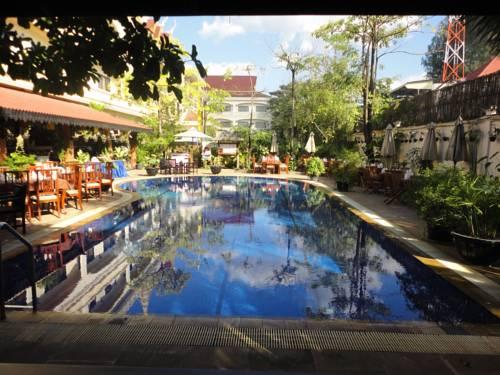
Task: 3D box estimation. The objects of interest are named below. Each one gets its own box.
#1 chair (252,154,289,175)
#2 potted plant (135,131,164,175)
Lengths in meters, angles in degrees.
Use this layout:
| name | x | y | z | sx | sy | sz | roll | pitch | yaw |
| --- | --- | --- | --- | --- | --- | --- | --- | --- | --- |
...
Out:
| name | x | y | z | sx | sy | sz | roll | pitch | yaw |
| --- | --- | --- | --- | --- | --- | --- | --- | --- | --- |
| chair | 1.414 | -1.515 | 23.018 | 2.216 | 1.229 | 2.094 | -1 | 8 | -10 |
| potted plant | -7.389 | -2.667 | 25.155 | 2.473 | 2.654 | 1.873 | 7 | 11 | 39 |
